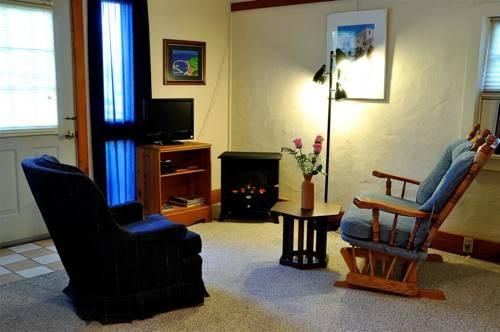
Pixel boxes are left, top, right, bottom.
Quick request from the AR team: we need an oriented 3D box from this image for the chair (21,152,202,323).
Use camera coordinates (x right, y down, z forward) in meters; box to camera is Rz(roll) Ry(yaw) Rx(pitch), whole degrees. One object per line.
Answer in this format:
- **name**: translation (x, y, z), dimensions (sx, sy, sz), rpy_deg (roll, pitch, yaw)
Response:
- **chair**: translation (-1.207, 0.620, 3.667), dimensions (1.389, 1.206, 1.501), rpy_deg (8, 5, 37)

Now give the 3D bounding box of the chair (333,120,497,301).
- **chair**: translation (1.381, 0.458, 4.455), dimensions (1.877, 1.923, 1.528), rpy_deg (1, 4, 15)

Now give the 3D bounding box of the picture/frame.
- **picture/frame**: translation (-0.928, -1.454, 5.361), dimensions (0.775, 0.660, 0.055), rpy_deg (-3, 6, -39)

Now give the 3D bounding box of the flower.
- **flower**: translation (0.663, -0.088, 4.484), dimensions (0.640, 0.565, 0.543), rpy_deg (-2, -2, -13)

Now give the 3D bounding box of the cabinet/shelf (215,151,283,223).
- **cabinet/shelf**: translation (-0.004, 0.235, 5.450), dimensions (0.931, 0.855, 0.639), rpy_deg (1, 10, 4)

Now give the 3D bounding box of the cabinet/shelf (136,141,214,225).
- **cabinet/shelf**: translation (-0.980, 0.205, 4.972), dimensions (0.677, 1.196, 1.081), rpy_deg (6, 9, 41)

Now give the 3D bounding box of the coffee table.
- **coffee table**: translation (0.624, 0.696, 4.216), dimensions (0.840, 0.558, 0.712), rpy_deg (-9, 15, -42)
